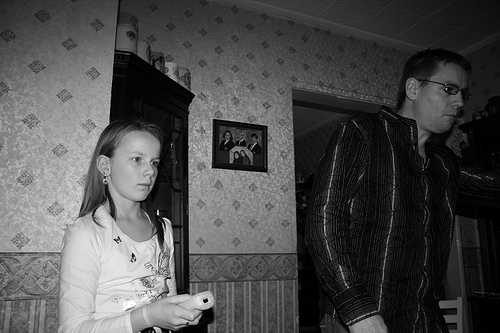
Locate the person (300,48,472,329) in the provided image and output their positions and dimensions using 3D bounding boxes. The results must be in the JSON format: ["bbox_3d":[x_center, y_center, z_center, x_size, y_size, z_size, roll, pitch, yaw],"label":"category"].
[{"bbox_3d":[0.780,0.040,2.288,0.961,1.582,0.253,8,-11,-24],"label":"person"}]

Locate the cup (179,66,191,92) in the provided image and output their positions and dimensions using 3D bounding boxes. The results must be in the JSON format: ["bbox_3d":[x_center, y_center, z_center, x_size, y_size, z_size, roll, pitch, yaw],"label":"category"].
[{"bbox_3d":[-0.603,-0.819,3.879,0.124,0.217,0.079,9,-11,-30],"label":"cup"}]

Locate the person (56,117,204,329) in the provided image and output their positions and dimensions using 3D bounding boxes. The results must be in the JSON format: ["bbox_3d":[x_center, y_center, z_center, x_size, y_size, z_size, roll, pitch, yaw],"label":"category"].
[{"bbox_3d":[-0.637,0.275,2.331,0.678,1.142,0.476,5,-10,-8],"label":"person"}]

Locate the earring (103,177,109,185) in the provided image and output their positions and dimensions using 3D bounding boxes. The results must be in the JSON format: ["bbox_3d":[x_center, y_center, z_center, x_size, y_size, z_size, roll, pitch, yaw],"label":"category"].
[{"bbox_3d":[-0.822,0.079,2.401,0.029,0.038,0.009,3,-7,-10],"label":"earring"}]
